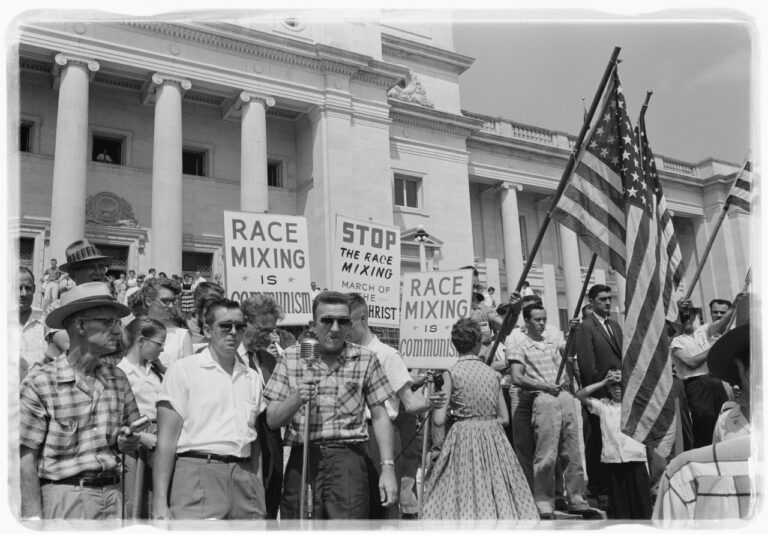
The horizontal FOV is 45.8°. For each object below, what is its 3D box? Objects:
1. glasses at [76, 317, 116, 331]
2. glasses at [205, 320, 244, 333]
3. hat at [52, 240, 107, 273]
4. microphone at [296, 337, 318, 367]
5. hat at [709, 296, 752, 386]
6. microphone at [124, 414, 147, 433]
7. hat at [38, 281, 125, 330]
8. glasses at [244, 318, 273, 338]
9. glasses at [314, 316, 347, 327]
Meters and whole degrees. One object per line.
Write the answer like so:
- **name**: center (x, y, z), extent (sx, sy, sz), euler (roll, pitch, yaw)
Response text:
- **glasses**: center (-2.863, 0.559, 9.014), extent (0.180, 0.105, 0.346), euler (-1, -6, 43)
- **glasses**: center (-1.636, 0.635, 9.536), extent (0.145, 0.134, 0.321), euler (0, -5, 33)
- **hat**: center (-4.114, -0.139, 12.011), extent (0.578, 0.249, 0.532), euler (-23, -9, 31)
- **microphone**: center (-0.806, 0.892, 9.397), extent (0.198, 0.294, 0.379), euler (3, -4, -5)
- **hat**: center (3.269, 0.815, 8.554), extent (0.378, 0.619, 0.434), euler (1, -5, 21)
- **microphone**: center (-2.487, 1.572, 9.014), extent (0.186, 0.173, 0.457), euler (4, -4, -16)
- **hat**: center (-3.106, 0.381, 9.091), extent (0.583, 0.227, 0.542), euler (-22, -5, -7)
- **glasses**: center (-1.463, 0.696, 10.412), extent (0.396, 0.191, 0.225), euler (5, -5, -27)
- **glasses**: center (-0.547, 0.577, 9.535), extent (0.309, 0.098, 0.075), euler (4, -4, -10)
